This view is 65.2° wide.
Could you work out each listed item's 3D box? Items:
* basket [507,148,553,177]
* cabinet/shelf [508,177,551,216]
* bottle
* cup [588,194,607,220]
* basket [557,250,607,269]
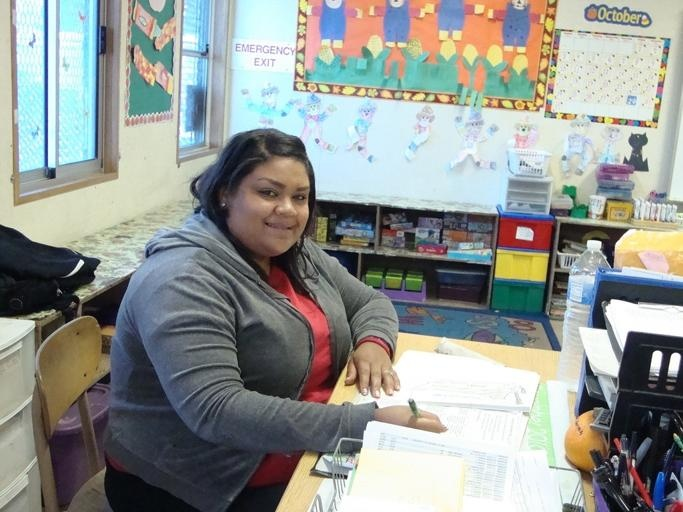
[{"bbox_3d":[1.541,-0.789,4.516,0.392,0.237,0.221,14,14,39],"label":"basket"},{"bbox_3d":[1.571,-0.500,4.607,0.379,0.401,0.293,2,7,8],"label":"cabinet/shelf"},{"bbox_3d":[0.732,0.173,1.627,0.106,0.424,0.479,9,12,24],"label":"bottle"},{"bbox_3d":[2.199,-0.418,4.577,0.146,0.200,0.122,6,11,9],"label":"cup"},{"bbox_3d":[1.235,0.016,2.786,0.194,0.077,0.142,0,6,3],"label":"basket"}]
